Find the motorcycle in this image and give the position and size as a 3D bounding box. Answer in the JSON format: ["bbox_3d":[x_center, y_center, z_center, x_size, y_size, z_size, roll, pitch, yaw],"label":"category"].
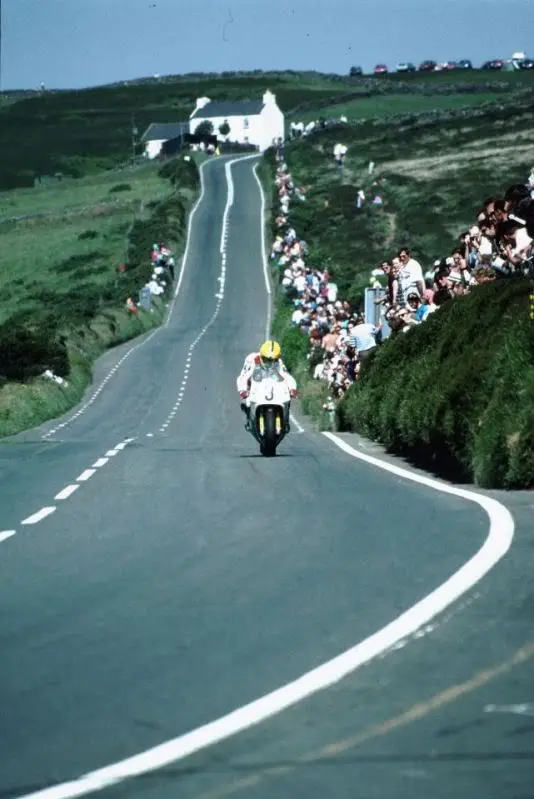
[{"bbox_3d":[0.048,0.160,16.285,0.805,1.239,1.103,-3,1,-1],"label":"motorcycle"}]

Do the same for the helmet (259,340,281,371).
[{"bbox_3d":[0.108,-0.751,16.736,0.351,0.473,0.410,2,-25,-14],"label":"helmet"}]
